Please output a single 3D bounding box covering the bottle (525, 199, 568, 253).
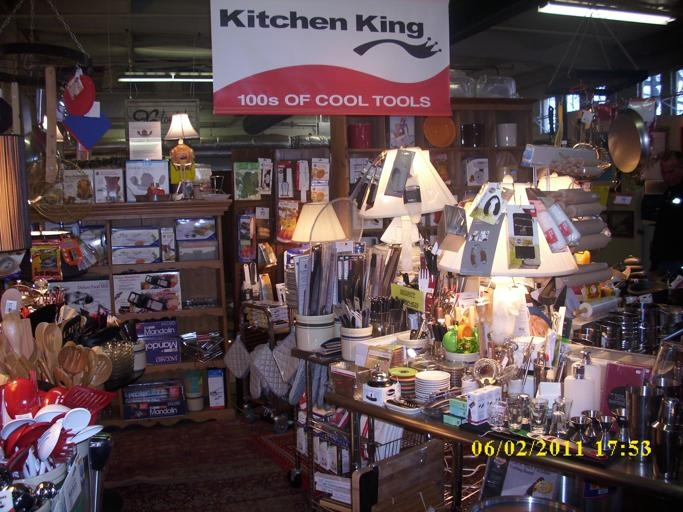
[{"bbox_3d":[0.924,-0.131,2.477,0.161,0.238,0.068,0,4,19],"label":"bottle"}]

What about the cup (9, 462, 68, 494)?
[{"bbox_3d":[-0.867,0.653,1.614,0.075,0.071,0.168,0,5,18],"label":"cup"}]

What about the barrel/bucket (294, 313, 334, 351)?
[{"bbox_3d":[-0.172,0.481,3.529,0.250,0.219,0.260,-1,-1,0],"label":"barrel/bucket"}]

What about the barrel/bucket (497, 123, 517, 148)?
[{"bbox_3d":[1.969,-1.428,6.674,0.255,0.307,0.271,0,1,0],"label":"barrel/bucket"}]

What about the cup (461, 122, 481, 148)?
[{"bbox_3d":[1.511,-1.423,6.547,0.257,0.306,0.266,1,10,0],"label":"cup"}]

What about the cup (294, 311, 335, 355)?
[{"bbox_3d":[-0.167,0.473,3.400,0.209,0.177,0.216,0,0,0],"label":"cup"}]

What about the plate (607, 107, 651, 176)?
[{"bbox_3d":[2.083,-0.853,4.053,0.162,0.467,0.387,-3,4,-22],"label":"plate"}]

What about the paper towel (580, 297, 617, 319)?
[{"bbox_3d":[1.523,0.285,3.237,0.427,0.110,0.102,-2,6,-43],"label":"paper towel"}]

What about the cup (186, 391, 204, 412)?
[{"bbox_3d":[-1.435,1.432,5.433,0.165,0.169,0.164,0,1,0],"label":"cup"}]

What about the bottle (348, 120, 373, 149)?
[{"bbox_3d":[0.210,-1.307,6.111,0.280,0.316,0.289,1,5,12],"label":"bottle"}]

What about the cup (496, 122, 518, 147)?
[{"bbox_3d":[1.979,-1.432,6.642,0.251,0.301,0.266,0,1,0],"label":"cup"}]

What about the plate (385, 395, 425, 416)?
[{"bbox_3d":[0.282,0.664,2.451,0.121,0.035,0.168,-4,5,-32],"label":"plate"}]

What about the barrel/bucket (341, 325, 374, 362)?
[{"bbox_3d":[0.099,0.493,3.198,0.169,0.189,0.192,1,1,11],"label":"barrel/bucket"}]

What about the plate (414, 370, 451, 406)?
[{"bbox_3d":[0.408,0.590,2.487,0.153,0.114,0.147,-1,4,7],"label":"plate"}]

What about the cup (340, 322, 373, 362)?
[{"bbox_3d":[0.085,0.487,3.131,0.168,0.191,0.193,0,1,0],"label":"cup"}]
